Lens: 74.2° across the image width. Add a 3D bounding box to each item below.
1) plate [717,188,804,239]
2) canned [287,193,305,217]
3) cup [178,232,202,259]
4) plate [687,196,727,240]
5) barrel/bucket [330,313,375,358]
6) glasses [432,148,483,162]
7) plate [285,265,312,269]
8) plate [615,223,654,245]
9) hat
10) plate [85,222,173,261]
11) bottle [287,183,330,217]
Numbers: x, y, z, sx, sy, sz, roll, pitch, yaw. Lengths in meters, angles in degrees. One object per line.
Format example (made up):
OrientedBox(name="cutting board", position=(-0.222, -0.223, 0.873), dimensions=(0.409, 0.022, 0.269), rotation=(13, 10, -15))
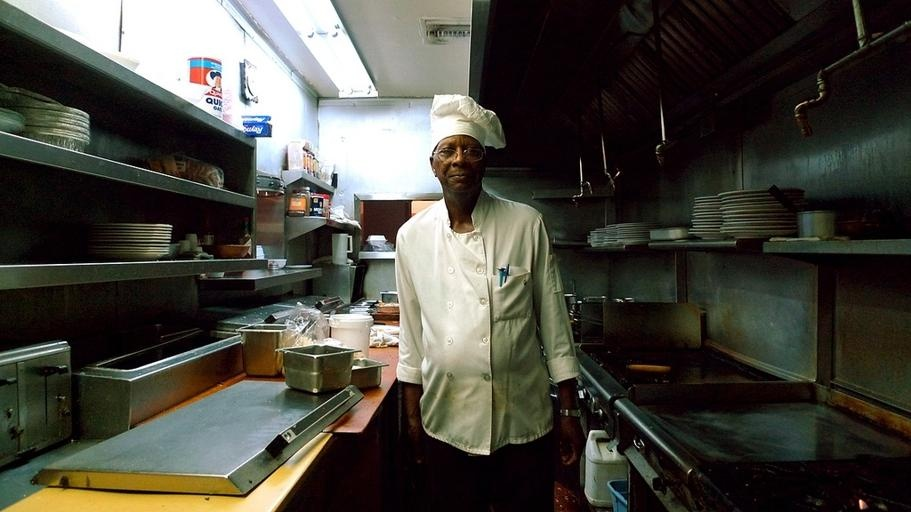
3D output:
OrientedBox(name="plate", position=(1.788, -0.252, 3.528), dimensions=(0.439, 0.316, 0.245), rotation=(-2, -4, 24))
OrientedBox(name="canned", position=(-1.367, -0.437, 5.207), dimensions=(0.192, 0.171, 0.180), rotation=(-1, 2, -27))
OrientedBox(name="cup", position=(-1.652, -0.055, 3.859), dimensions=(0.117, 0.174, 0.194), rotation=(1, -2, -18))
OrientedBox(name="plate", position=(1.618, -0.249, 3.877), dimensions=(0.270, 0.225, 0.259), rotation=(0, 1, 21))
OrientedBox(name="barrel/bucket", position=(-0.691, 0.527, 4.010), dimensions=(0.288, 0.237, 0.299), rotation=(0, 0, 0))
OrientedBox(name="glasses", position=(0.006, -0.584, 3.497), dimensions=(0.300, 0.077, 0.079), rotation=(0, -4, 7))
OrientedBox(name="plate", position=(-1.268, 0.095, 4.874), dimensions=(0.141, 0.033, 0.255), rotation=(0, -4, 0))
OrientedBox(name="plate", position=(1.325, -0.165, 4.669), dimensions=(0.192, 0.185, 0.368), rotation=(3, -5, -39))
OrientedBox(name="hat", position=(0.069, -0.783, 3.634), dimensions=(0.457, 0.202, 0.370), rotation=(-1, -14, 6))
OrientedBox(name="plate", position=(-1.835, -0.080, 3.387), dimensions=(0.283, 0.118, 0.296), rotation=(0, -5, -8))
OrientedBox(name="bottle", position=(-1.254, -0.490, 5.383), dimensions=(0.413, 0.320, 0.222), rotation=(-5, 14, -6))
